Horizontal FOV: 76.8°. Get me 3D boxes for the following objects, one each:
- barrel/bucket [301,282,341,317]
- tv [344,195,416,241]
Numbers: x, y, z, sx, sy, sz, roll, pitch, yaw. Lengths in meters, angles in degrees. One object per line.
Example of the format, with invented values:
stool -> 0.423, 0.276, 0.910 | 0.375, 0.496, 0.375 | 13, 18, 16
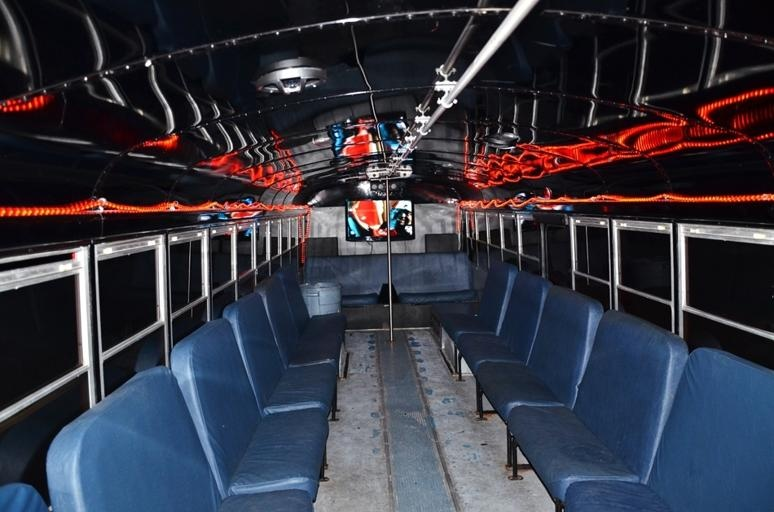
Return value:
barrel/bucket -> -0.999, 0.638, 7.423 | 0.559, 0.494, 0.529 | -1, 3, 0
tv -> -0.240, -0.867, 10.681 | 1.364, 0.770, 0.136 | 0, 7, 1
